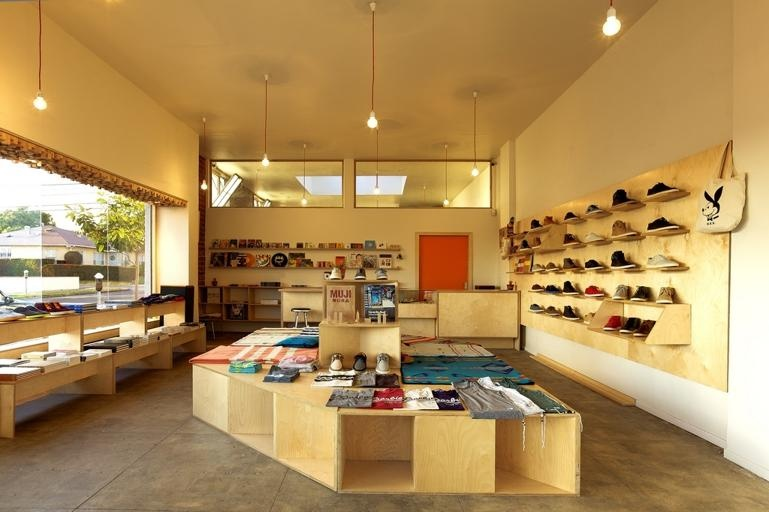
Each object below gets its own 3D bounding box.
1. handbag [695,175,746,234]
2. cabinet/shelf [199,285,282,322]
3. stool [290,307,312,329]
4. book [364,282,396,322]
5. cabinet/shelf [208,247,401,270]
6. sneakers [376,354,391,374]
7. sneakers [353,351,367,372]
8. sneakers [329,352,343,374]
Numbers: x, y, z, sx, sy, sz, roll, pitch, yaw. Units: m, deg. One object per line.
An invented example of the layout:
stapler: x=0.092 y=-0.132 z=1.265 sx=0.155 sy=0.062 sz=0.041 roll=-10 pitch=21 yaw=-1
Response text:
handbag: x=3.572 y=-0.565 z=5.118 sx=0.408 sy=0.589 sz=0.198 roll=9 pitch=12 yaw=39
cabinet/shelf: x=-3.190 y=1.038 z=10.781 sx=1.736 sy=0.852 sz=0.479 roll=0 pitch=10 yaw=-6
stool: x=-1.752 y=1.272 z=10.266 sx=0.620 sy=0.519 sz=0.543 roll=-1 pitch=-5 yaw=-3
book: x=-0.036 y=0.520 z=5.442 sx=0.571 sy=0.496 sz=0.075 roll=0 pitch=-1 yaw=2
cabinet/shelf: x=-1.796 y=0.069 z=10.877 sx=4.388 sy=0.465 sz=0.209 roll=1 pitch=10 yaw=1
sneakers: x=-0.010 y=1.173 z=5.261 sx=0.168 sy=0.127 sz=0.363 roll=1 pitch=-10 yaw=-2
sneakers: x=-0.258 y=1.149 z=5.280 sx=0.172 sy=0.121 sz=0.346 roll=1 pitch=-8 yaw=-5
sneakers: x=-0.524 y=1.163 z=5.286 sx=0.180 sy=0.126 sz=0.370 roll=1 pitch=-8 yaw=-4
